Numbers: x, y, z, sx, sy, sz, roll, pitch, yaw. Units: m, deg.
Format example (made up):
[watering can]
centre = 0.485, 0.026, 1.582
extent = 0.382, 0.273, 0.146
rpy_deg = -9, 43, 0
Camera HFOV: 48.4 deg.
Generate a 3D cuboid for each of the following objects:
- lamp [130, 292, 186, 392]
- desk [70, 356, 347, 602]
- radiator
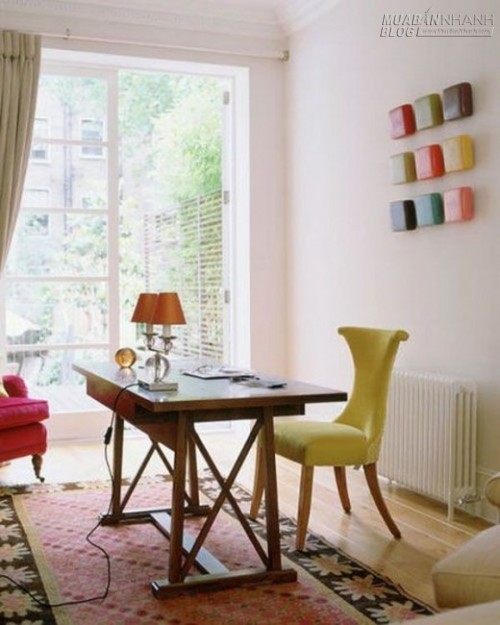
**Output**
[lamp]
centre = -0.364, 0.119, 2.204
extent = 0.137, 0.370, 0.407
rpy_deg = 2, -1, -26
[desk]
centre = -0.276, 0.664, 2.403
extent = 0.710, 0.642, 1.430
rpy_deg = 3, -7, -23
[radiator]
centre = 0.915, 0.675, 2.938
extent = 0.136, 0.606, 0.707
rpy_deg = 6, -10, -12
